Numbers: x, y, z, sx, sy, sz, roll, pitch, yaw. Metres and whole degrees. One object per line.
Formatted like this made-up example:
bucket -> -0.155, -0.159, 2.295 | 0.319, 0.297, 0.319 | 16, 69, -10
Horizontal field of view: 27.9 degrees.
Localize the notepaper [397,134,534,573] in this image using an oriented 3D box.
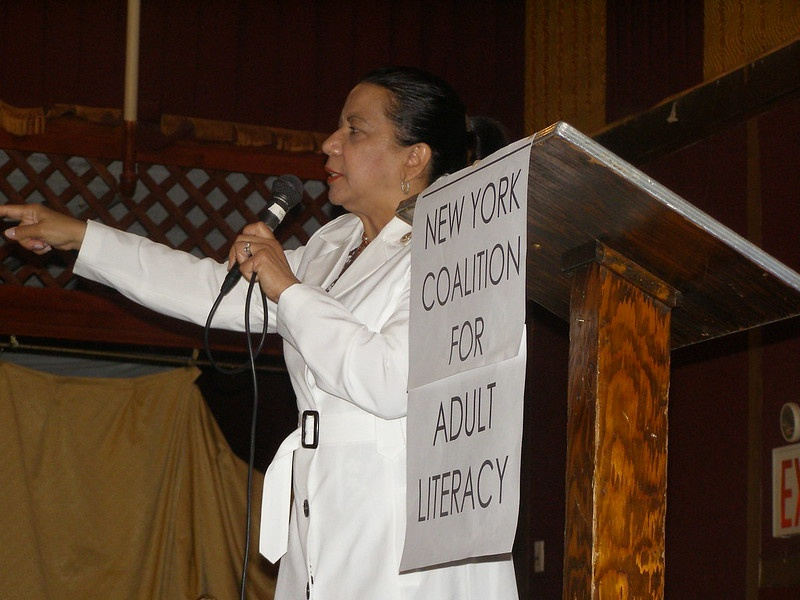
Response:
notepaper -> 0.190, 0.136, 3.934 | 0.202, 0.926, 0.578 | 12, -24, -32
